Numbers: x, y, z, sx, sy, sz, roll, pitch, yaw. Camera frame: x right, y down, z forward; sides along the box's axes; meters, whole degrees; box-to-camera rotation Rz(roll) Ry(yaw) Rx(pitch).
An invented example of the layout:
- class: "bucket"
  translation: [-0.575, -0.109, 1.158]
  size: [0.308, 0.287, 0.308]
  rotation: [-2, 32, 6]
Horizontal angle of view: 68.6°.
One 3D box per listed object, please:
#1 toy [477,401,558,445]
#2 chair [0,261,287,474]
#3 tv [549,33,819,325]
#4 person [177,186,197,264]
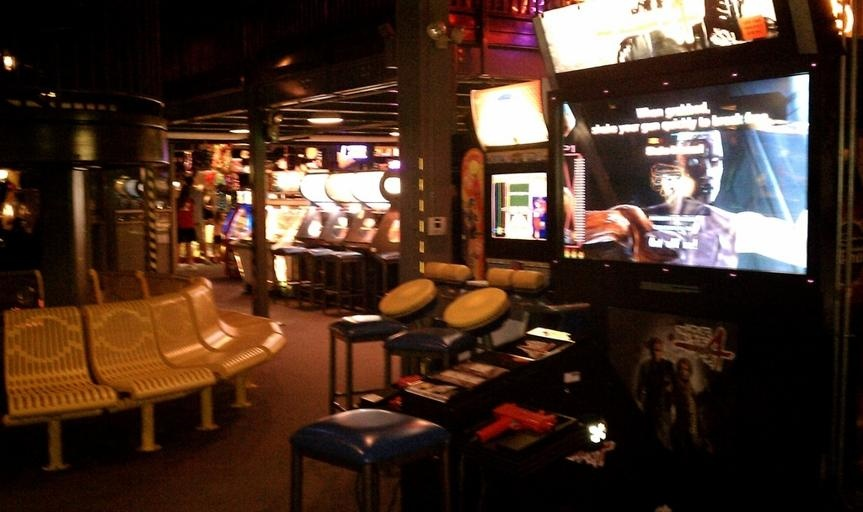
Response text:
- class: "toy"
  translation: [0.522, 1.062, 3.907]
  size: [0.379, 0.136, 0.323]
  rotation: [7, 15, 29]
- class: "chair"
  translation: [-2.892, 1.042, 6.200]
  size: [1.988, 1.429, 2.435]
  rotation: [4, 14, 18]
- class: "tv"
  translation: [1.917, -0.432, 4.514]
  size: [0.747, 1.556, 1.922]
  rotation: [-8, 10, -42]
- class: "person"
  translation: [-7.057, -0.851, 18.196]
  size: [0.570, 2.131, 1.310]
  rotation: [-7, 16, -20]
